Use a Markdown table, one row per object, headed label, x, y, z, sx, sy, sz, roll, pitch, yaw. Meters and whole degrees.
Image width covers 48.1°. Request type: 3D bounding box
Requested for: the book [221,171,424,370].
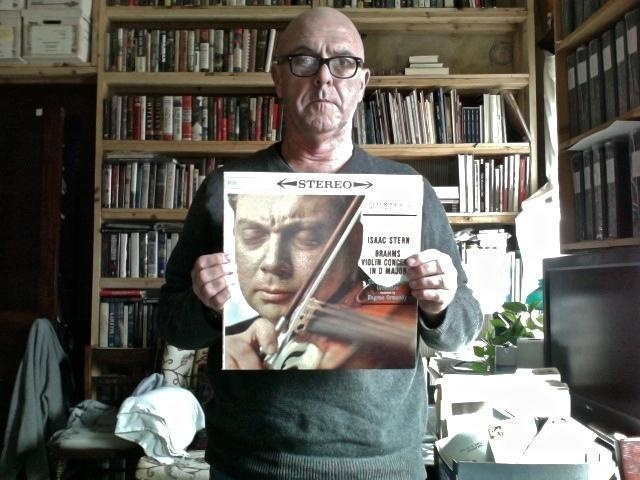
| label | x | y | z | sx | sy | sz | roll | pitch | yaw |
| --- | --- | --- | --- | --- | --- | --- | --- | --- | --- |
| book | 0.000 | 0.119 | 2.344 | 0.666 | 0.636 | 0.166 | 1 | 0 | 1 |
